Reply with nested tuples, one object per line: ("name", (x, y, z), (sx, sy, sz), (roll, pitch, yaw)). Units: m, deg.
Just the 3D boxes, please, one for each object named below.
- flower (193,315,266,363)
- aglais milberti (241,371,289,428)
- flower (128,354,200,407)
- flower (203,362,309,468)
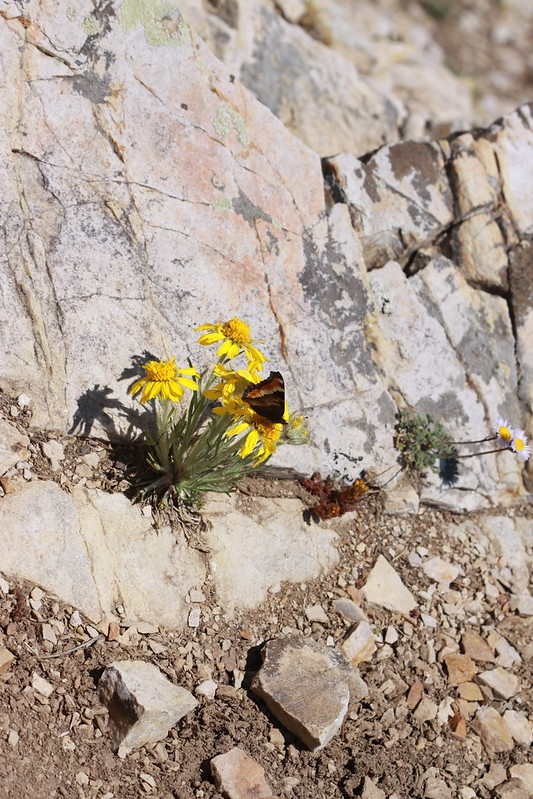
("flower", (-0.202, -0.300, 4.975), (0.306, 0.155, 0.300), (11, 25, -40))
("aglais milberti", (0.008, 0.031, 4.572), (0.274, 0.308, 0.214), (-3, 57, 7))
("flower", (-0.516, -0.096, 5.053), (0.298, 0.136, 0.296), (1, 26, 26))
("flower", (-0.074, 0.042, 4.718), (0.504, 0.566, 0.295), (19, 51, 16))
